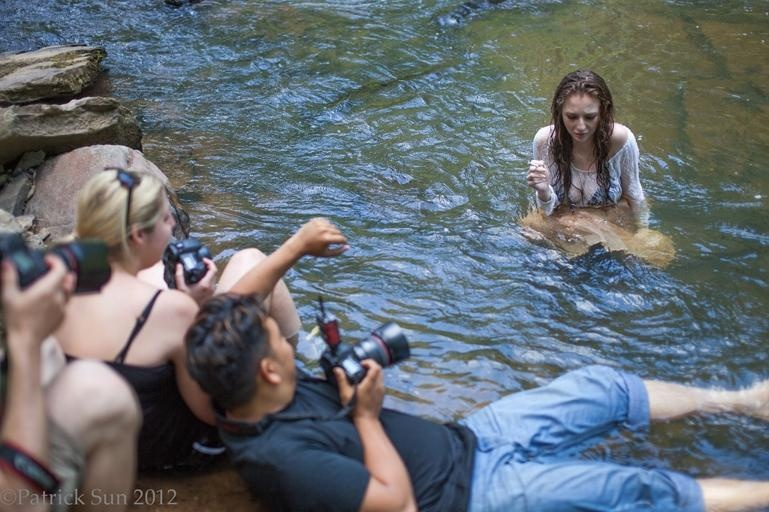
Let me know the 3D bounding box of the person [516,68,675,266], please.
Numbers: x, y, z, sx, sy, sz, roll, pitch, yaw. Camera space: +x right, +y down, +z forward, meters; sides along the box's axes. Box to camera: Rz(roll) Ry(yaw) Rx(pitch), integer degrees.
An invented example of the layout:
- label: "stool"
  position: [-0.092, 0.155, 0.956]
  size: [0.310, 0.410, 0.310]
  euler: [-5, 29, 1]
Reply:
- label: "person"
  position: [1.992, -0.838, 7.074]
  size: [1.275, 1.662, 0.545]
  euler: [6, 19, 8]

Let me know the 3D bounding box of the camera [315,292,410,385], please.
- label: "camera"
  position: [-0.152, 0.655, 5.231]
  size: [0.616, 0.375, 0.569]
  euler: [-23, 22, -19]
